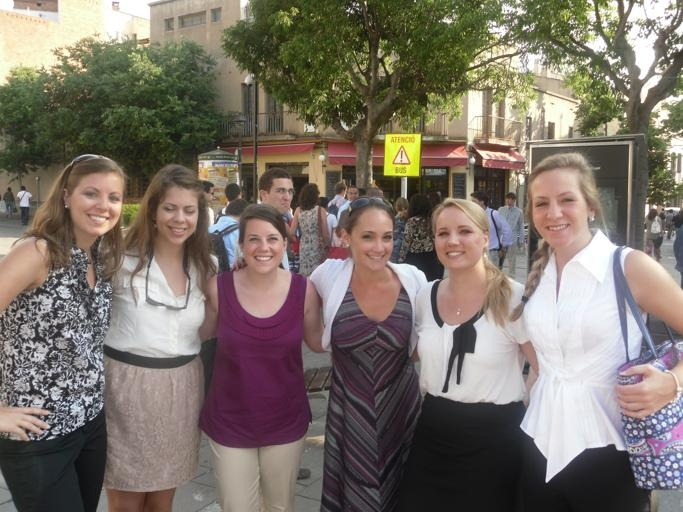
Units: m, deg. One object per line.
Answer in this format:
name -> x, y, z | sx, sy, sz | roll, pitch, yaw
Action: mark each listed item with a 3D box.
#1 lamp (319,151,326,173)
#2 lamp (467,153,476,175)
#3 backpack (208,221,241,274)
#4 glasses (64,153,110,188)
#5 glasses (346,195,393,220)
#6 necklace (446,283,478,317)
lamp -> -0.729, -3.698, 25.341 | 0.245, 0.834, 0.760 | 0, 4, -3
lamp -> 5.273, -3.711, 26.002 | 0.232, 0.931, 0.927 | 3, 5, 27
backpack -> -1.075, -0.084, 5.819 | 0.425, 0.501, 0.317 | -1, -4, -17
glasses -> -1.504, -0.517, 3.799 | 0.187, 0.214, 0.057 | 2, 2, -15
glasses -> 0.170, -0.328, 4.300 | 0.172, 0.058, 0.198 | 2, -41, -6
necklace -> 0.732, 0.276, 3.921 | 0.153, 0.233, 0.054 | -1, -15, 22
